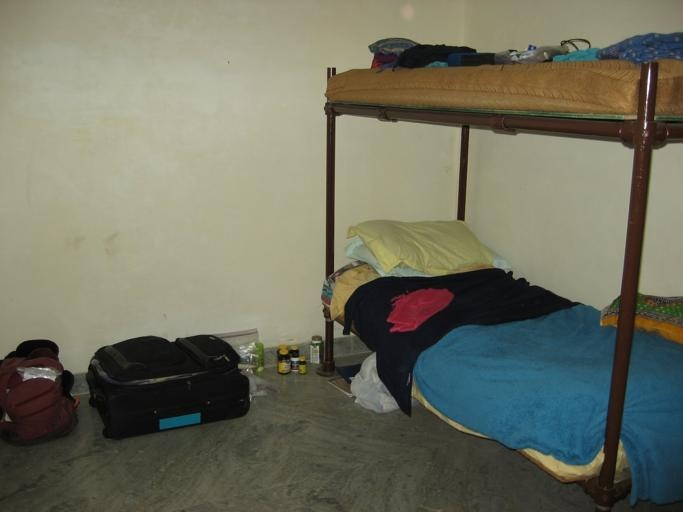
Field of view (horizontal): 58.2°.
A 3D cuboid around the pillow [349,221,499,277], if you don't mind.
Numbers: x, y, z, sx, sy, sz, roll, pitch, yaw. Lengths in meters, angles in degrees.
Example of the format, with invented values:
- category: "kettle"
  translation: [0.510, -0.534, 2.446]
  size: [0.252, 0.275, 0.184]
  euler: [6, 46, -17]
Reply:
- category: "pillow"
  translation: [0.568, -0.070, 4.297]
  size: [0.676, 0.209, 0.531]
  euler: [-6, 35, -16]

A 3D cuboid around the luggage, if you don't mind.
- category: "luggage"
  translation: [-1.065, 0.768, 3.842]
  size: [0.752, 0.378, 0.597]
  euler: [-5, 20, -24]
